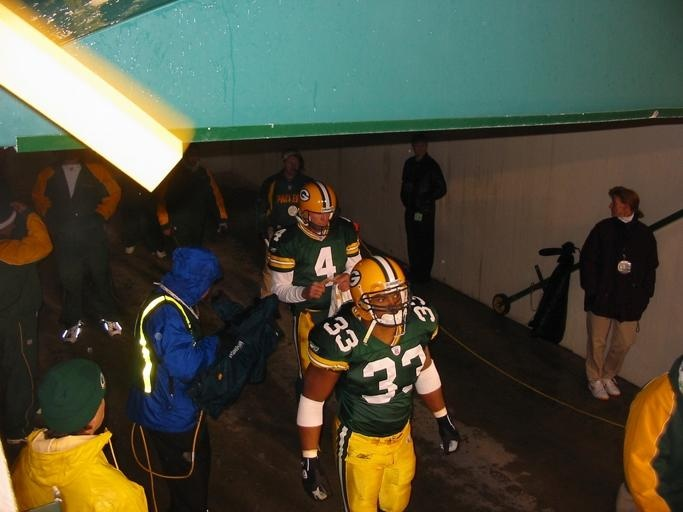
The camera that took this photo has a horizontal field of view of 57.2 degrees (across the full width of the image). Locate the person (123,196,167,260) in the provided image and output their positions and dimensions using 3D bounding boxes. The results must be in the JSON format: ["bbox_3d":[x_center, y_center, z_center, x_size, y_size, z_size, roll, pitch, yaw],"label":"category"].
[{"bbox_3d":[-3.227,-0.466,10.340,0.787,0.654,1.822,-3,-29,-17],"label":"person"}]

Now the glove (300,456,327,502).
[{"bbox_3d":[-0.215,1.645,4.653,0.158,0.365,0.101,-12,14,-24],"label":"glove"}]

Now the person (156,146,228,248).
[{"bbox_3d":[-2.248,-0.619,9.356,0.990,2.418,0.538,-12,39,-29],"label":"person"}]

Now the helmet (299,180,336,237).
[{"bbox_3d":[-0.266,-0.500,5.980,0.295,0.491,0.431,-8,32,-39],"label":"helmet"}]

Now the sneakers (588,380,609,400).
[{"bbox_3d":[2.856,1.513,7.012,0.093,0.116,0.267,-11,29,-4],"label":"sneakers"}]

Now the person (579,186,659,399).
[{"bbox_3d":[2.893,0.454,6.683,0.749,2.370,0.419,7,9,30],"label":"person"}]

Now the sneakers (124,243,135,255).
[{"bbox_3d":[-3.530,-0.109,10.495,0.092,0.217,0.190,5,3,-36],"label":"sneakers"}]

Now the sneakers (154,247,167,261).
[{"bbox_3d":[-2.995,-0.034,10.379,0.138,0.124,0.156,2,28,-10],"label":"sneakers"}]

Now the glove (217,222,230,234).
[{"bbox_3d":[-1.981,-0.466,10.453,0.091,0.246,0.191,32,29,-42],"label":"glove"}]

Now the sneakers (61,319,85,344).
[{"bbox_3d":[-3.262,0.937,7.673,0.211,0.338,0.102,39,20,-4],"label":"sneakers"}]

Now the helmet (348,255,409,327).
[{"bbox_3d":[0.253,0.186,4.442,0.346,0.443,0.478,-20,31,-38],"label":"helmet"}]
